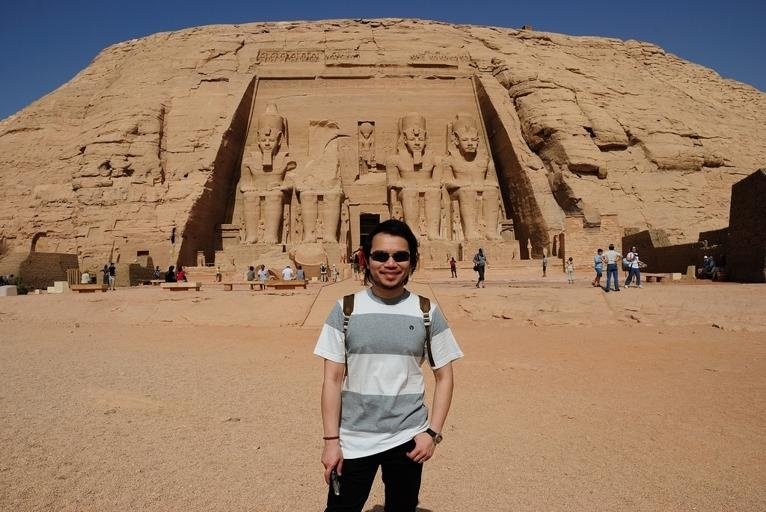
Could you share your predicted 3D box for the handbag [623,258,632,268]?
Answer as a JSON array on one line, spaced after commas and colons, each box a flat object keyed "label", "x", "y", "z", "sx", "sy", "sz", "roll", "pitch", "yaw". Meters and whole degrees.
[{"label": "handbag", "x": 6.474, "y": 0.167, "z": 13.332, "sx": 0.230, "sy": 0.090, "sz": 0.269, "roll": 1, "pitch": -30, "yaw": 11}]

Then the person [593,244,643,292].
[{"label": "person", "x": 6.741, "y": 0.365, "z": 14.557, "sx": 1.024, "sy": 1.220, "sz": 1.507, "roll": -9, "pitch": 9, "yaw": -36}]
